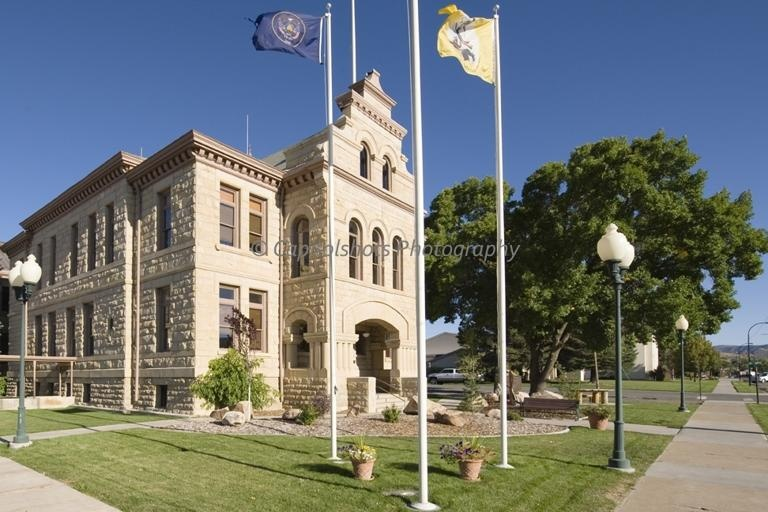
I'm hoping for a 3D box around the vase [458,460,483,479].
[{"bbox_3d":[2.993,7.342,24.505,0.823,0.690,0.525,3,-15,-11],"label":"vase"}]

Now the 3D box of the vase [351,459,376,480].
[{"bbox_3d":[-0.703,7.317,24.379,0.850,0.661,0.622,5,-16,-18],"label":"vase"}]

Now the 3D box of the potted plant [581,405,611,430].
[{"bbox_3d":[9.987,7.516,33.277,1.154,1.046,1.117,-1,-15,11],"label":"potted plant"}]
